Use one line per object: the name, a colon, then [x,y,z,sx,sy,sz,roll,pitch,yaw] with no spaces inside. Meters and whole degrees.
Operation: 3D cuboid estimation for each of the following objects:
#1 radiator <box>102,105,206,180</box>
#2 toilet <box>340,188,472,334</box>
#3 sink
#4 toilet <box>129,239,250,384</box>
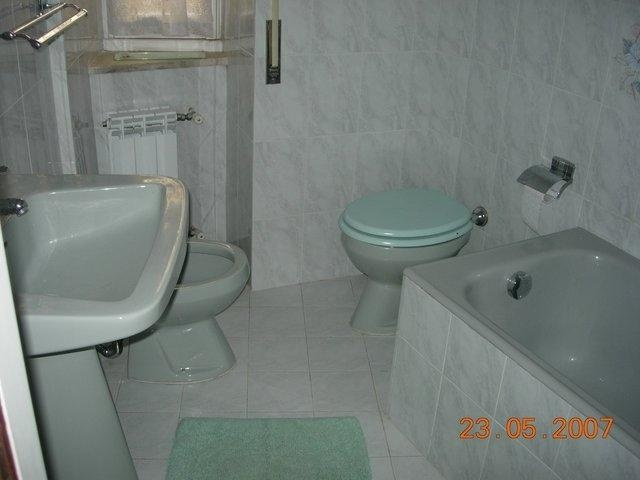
radiator: [-0.814,-0.432,2.333,0.399,0.401,0.204,-6,-10,12]
toilet: [0.394,0.105,2.282,0.633,0.561,0.543,-16,29,-31]
sink: [-0.548,0.152,1.347,0.410,0.134,0.622,-3,29,-14]
toilet: [-0.594,0.283,2.081,0.508,0.475,0.605,-5,19,-38]
